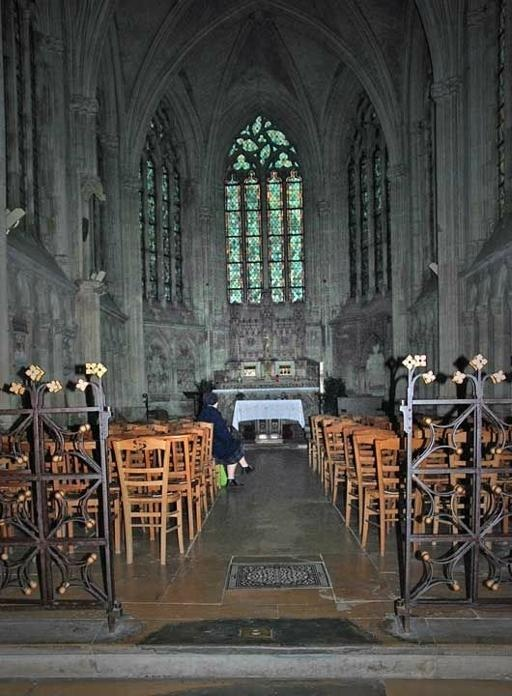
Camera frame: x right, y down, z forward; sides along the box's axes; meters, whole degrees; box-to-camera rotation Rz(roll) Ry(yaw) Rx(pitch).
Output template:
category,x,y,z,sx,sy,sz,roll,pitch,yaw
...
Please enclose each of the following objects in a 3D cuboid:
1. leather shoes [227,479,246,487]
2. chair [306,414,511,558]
category,x,y,z,sx,sy,sz,roll,pitch,yaw
leather shoes,-0.265,1.806,10.567,0.243,0.097,0.083,-2,1,-11
chair,1.334,1.186,7.471,1.087,0.865,1.881,0,-4,0
